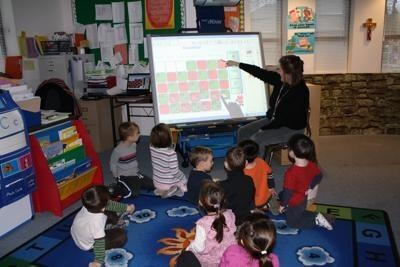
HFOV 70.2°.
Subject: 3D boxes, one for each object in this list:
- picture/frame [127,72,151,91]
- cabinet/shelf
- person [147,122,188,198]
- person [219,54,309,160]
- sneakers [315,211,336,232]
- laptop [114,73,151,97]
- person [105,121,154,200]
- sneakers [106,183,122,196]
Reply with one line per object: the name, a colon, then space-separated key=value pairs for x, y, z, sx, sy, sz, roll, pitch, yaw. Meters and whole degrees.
picture/frame: x=-1.039 y=-0.871 z=4.958 sx=0.453 sy=0.313 sz=0.251 roll=5 pitch=1 yaw=14
cabinet/shelf: x=-1.449 y=0.383 z=3.015 sx=0.343 sy=0.836 sz=0.882 roll=2 pitch=15 yaw=20
person: x=-0.329 y=0.316 z=3.332 sx=0.545 sy=0.791 sz=0.495 roll=-7 pitch=14 yaw=-39
person: x=0.900 y=-0.221 z=3.812 sx=1.003 sy=1.570 sz=0.793 roll=-3 pitch=20 yaw=1
sneakers: x=1.202 y=0.844 z=2.766 sx=0.099 sy=0.113 sz=0.267 roll=7 pitch=6 yaw=-8
laptop: x=-1.066 y=-0.859 z=4.733 sx=0.422 sy=0.355 sz=0.342 roll=1 pitch=-1 yaw=14
person: x=-0.769 y=0.300 z=3.350 sx=0.535 sy=0.804 sz=0.596 roll=1 pitch=11 yaw=-32
sneakers: x=-0.977 y=0.628 z=3.192 sx=0.107 sy=0.144 sz=0.068 roll=-1 pitch=35 yaw=27
